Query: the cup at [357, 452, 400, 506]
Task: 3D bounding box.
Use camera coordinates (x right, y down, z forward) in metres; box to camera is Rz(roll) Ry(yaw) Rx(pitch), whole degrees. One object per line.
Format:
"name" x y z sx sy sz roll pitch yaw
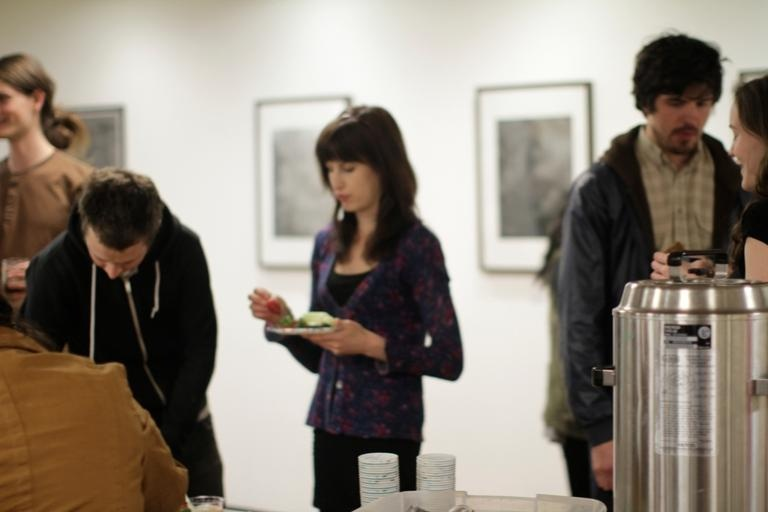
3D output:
"cup" -0.026 0.746 2.613 0.162 0.186 0.164 0 -8 0

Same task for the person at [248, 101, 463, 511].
"person" -0.048 0.235 3.318 0.732 1.769 0.394 0 2 1

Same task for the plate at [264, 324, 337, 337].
"plate" -0.378 0.315 3.231 0.144 0.057 0.347 0 0 -41

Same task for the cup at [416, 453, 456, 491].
"cup" 0.172 0.732 2.672 0.117 0.125 0.119 0 1 0
